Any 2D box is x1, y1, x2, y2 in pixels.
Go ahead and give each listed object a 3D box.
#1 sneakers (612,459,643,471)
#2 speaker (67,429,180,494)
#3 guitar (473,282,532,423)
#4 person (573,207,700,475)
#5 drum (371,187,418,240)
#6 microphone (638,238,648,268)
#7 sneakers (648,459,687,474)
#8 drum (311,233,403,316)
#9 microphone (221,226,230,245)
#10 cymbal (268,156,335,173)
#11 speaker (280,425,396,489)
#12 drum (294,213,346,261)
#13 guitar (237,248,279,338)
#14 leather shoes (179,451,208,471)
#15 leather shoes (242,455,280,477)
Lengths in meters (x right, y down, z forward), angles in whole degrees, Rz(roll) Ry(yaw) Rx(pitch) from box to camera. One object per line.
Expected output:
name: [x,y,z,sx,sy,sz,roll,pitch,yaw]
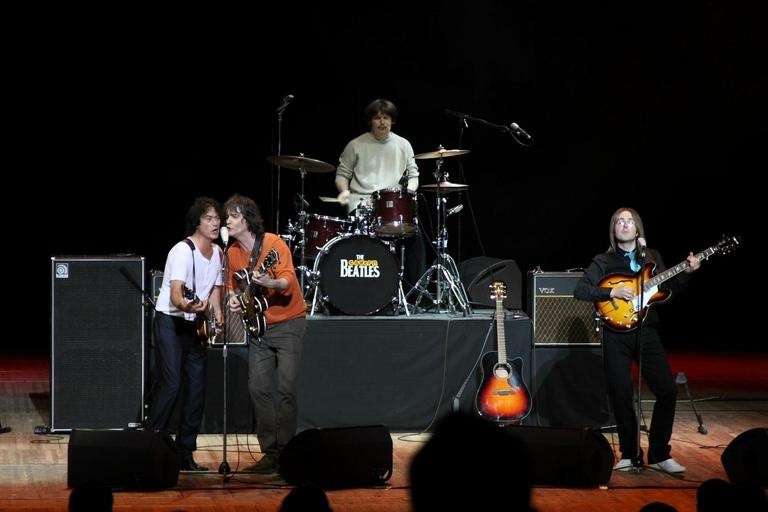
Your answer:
sneakers: [2.270,1.938,6.011,0.236,0.098,0.106,0,-1,16]
speaker: [-2.190,1.596,5.523,0.899,0.556,0.656,-1,-10,2]
guitar: [1.276,1.038,6.954,0.447,1.508,0.450,0,-1,42]
person: [2.421,0.763,6.184,1.087,2.483,0.600,0,-1,19]
drum: [0.148,-0.506,7.484,0.506,0.374,0.508,1,-4,0]
microphone: [2.447,-0.045,6.129,0.097,0.285,0.551,0,-1,22]
sneakers: [2.674,1.924,6.014,0.249,0.084,0.141,-4,-4,32]
drum: [-0.357,0.171,7.583,1.181,1.183,0.820,5,3,-14]
microphone: [-1.422,-0.237,5.720,0.072,0.077,0.279,-3,39,-8]
cymbal: [-1.036,-1.170,7.891,0.642,0.220,0.580,1,-2,-41]
speaker: [-0.419,1.669,5.525,0.750,0.369,0.555,-9,-16,25]
drum: [-0.775,-0.209,7.815,0.541,0.413,0.559,5,-4,0]
guitar: [-1.154,0.347,5.992,0.505,0.829,0.275,0,-1,28]
leather shoes: [-1.783,1.896,6.029,0.245,0.189,0.184,1,-1,-27]
leather shoes: [-1.126,1.935,6.027,0.457,0.195,0.184,1,-8,-7]
